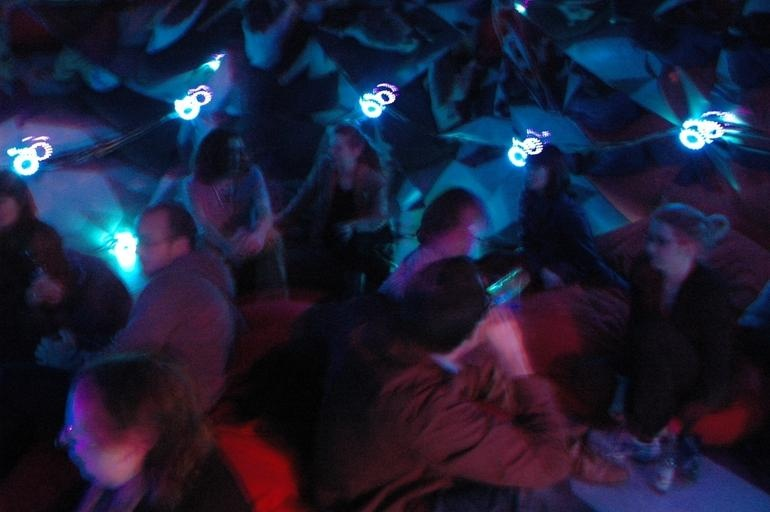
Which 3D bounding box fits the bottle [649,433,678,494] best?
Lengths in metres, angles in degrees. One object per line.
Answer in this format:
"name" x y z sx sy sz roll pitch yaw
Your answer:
"bottle" 1.487 1.110 4.304 0.069 0.254 0.139 8 -2 -4
